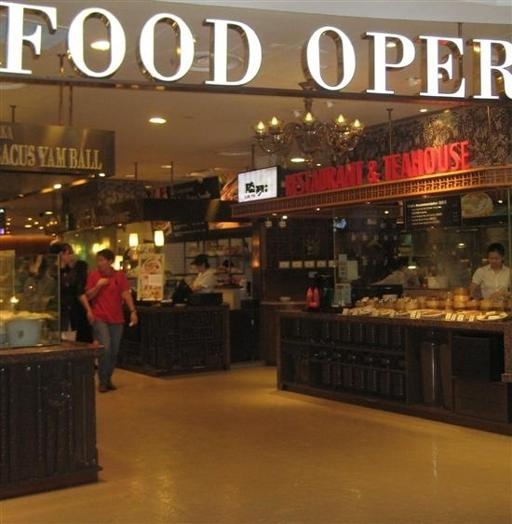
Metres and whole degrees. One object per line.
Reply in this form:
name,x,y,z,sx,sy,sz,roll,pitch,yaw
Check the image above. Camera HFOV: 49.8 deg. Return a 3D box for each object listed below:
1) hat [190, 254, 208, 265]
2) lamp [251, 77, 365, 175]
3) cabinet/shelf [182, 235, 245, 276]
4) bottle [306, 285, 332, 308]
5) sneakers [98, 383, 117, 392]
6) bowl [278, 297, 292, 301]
hat,-0.912,-0.045,8.739,0.182,0.218,0.227,0,5,3
lamp,0.558,-1.391,5.675,0.959,0.663,0.988,-2,6,-7
cabinet/shelf,-0.910,-0.102,12.050,0.257,0.781,1.982,6,6,39
bottle,0.781,0.438,6.695,0.293,0.270,0.290,-2,-4,29
sneakers,-1.816,1.524,6.736,0.219,0.096,0.070,-3,9,-38
bowl,0.503,0.643,9.524,0.183,0.081,0.637,-1,-3,5
